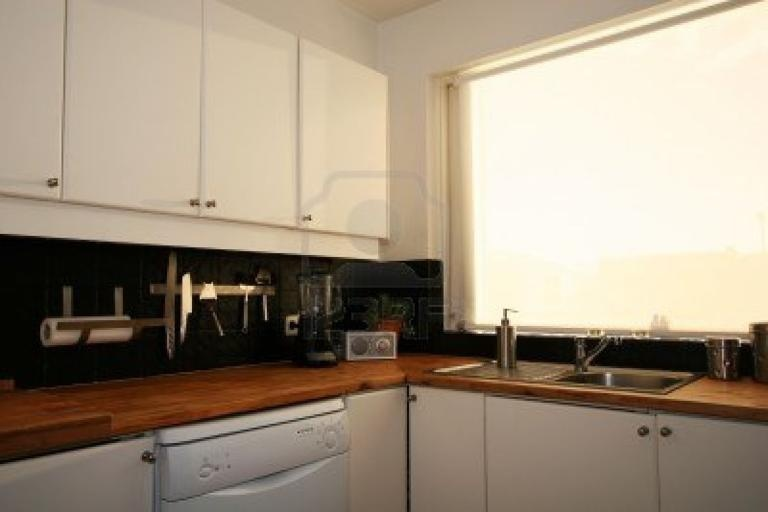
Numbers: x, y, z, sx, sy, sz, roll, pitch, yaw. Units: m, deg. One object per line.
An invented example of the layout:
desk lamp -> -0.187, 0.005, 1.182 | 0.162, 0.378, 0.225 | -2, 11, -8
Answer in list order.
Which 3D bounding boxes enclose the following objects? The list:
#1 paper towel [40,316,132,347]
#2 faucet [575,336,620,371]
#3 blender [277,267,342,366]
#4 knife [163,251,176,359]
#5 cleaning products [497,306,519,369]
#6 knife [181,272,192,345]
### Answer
paper towel -> -1.331, 0.340, 2.739 | 0.386, 0.147, 0.102 | -2, 4, -32
faucet -> 1.066, 0.495, 3.021 | 0.263, 0.161, 0.107 | -14, -12, 37
blender -> -0.353, 0.334, 3.335 | 0.280, 0.547, 0.271 | 0, 0, -39
knife -> -1.045, 0.239, 3.011 | 0.071, 0.570, 0.032 | 4, 6, 35
cleaning products -> 0.643, 0.429, 3.190 | 0.100, 0.296, 0.163 | 1, 3, 10
knife -> -0.994, 0.265, 3.050 | 0.074, 0.368, 0.025 | 0, -5, 36
